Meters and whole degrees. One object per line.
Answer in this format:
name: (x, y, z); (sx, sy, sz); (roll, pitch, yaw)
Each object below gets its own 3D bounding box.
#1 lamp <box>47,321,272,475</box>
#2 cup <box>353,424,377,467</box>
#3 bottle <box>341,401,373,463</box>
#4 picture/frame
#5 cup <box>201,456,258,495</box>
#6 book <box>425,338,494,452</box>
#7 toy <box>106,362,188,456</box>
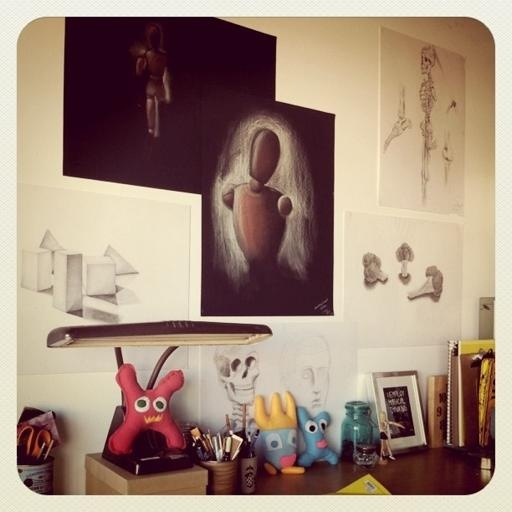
lamp: (-0.281, 0.374, 1.446); (0.534, 0.422, 0.295); (3, 0, -37)
cup: (0.386, 0.676, 1.877); (0.082, 0.160, 0.090); (3, -14, 1)
bottle: (0.407, 0.659, 2.022); (0.145, 0.296, 0.156); (1, -5, 0)
picture/frame: (0.545, 0.616, 2.036); (0.249, 0.331, 0.021); (11, -23, -42)
cup: (-0.071, 0.619, 1.548); (0.118, 0.102, 0.129); (0, -13, 0)
book: (0.826, 0.579, 2.130); (0.319, 0.372, 0.109); (7, -9, -36)
toy: (-0.293, 0.422, 1.467); (0.202, 0.270, 0.063); (1, 11, -15)
